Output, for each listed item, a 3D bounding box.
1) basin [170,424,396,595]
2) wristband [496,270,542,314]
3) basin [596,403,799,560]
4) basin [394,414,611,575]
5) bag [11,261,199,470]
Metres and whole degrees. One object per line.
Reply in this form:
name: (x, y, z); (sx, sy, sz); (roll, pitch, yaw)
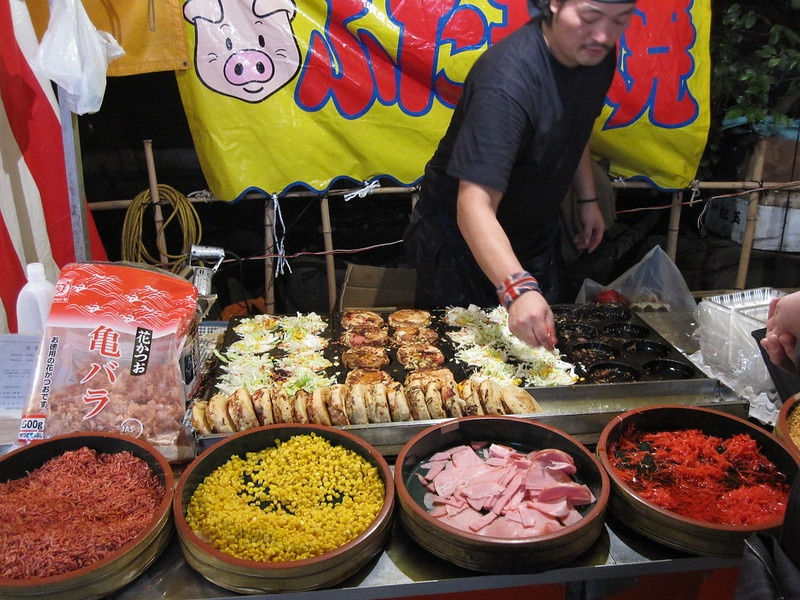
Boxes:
basin: (-0.372, 0.660, 1.947); (0.699, 0.263, 0.550); (5, 19, 4)
wristband: (0.488, -0.053, 2.492); (0.172, 0.140, 0.069); (-16, -24, 32)
basin: (0.998, 0.602, 2.034); (0.561, 0.272, 0.564); (3, 19, -1)
basin: (0.313, 0.576, 1.779); (0.482, 0.104, 0.478); (-1, 26, 1)
bag: (-1.129, 0.267, 2.243); (0.638, 0.285, 0.829); (5, 60, -12)
